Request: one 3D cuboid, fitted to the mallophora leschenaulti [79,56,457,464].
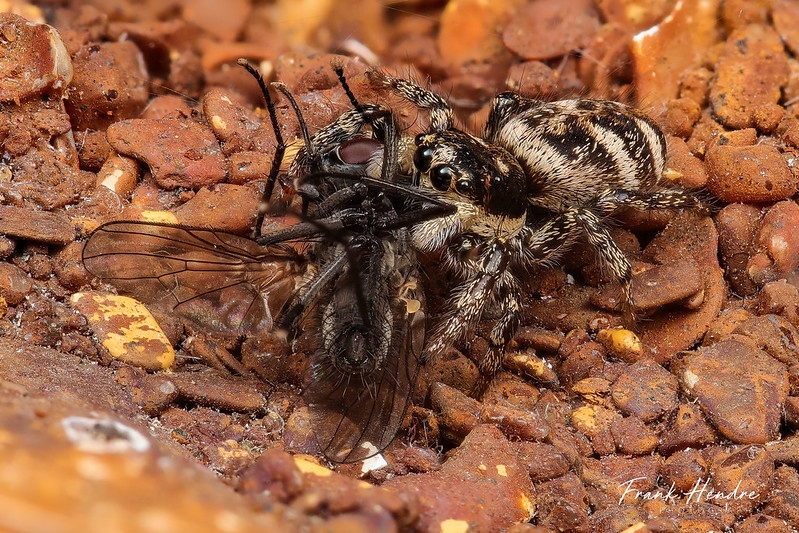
[{"bbox_3d":[-0.339,0.016,3.229,1.344,0.543,1.750,12,87,14],"label":"mallophora leschenaulti"}]
